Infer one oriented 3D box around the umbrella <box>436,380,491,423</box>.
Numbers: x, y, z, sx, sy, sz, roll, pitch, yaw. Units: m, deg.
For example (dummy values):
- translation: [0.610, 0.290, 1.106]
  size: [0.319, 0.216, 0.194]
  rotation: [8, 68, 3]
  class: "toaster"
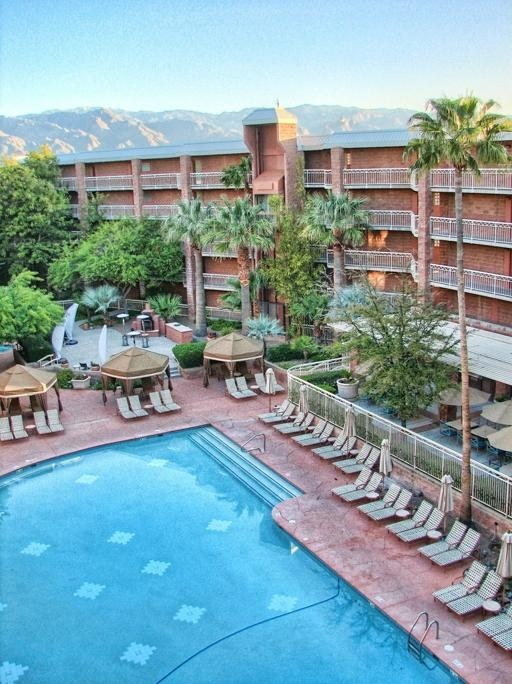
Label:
- translation: [7.551, 2.306, 19.123]
  size: [2.214, 1.389, 2.119]
  rotation: [-3, 5, 27]
  class: "umbrella"
